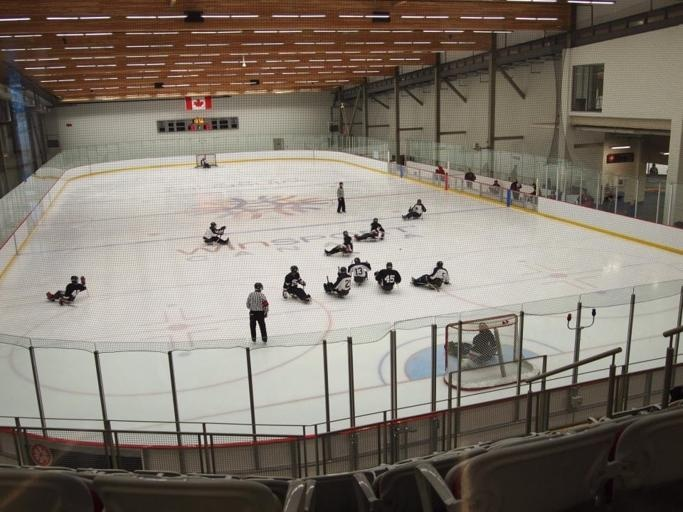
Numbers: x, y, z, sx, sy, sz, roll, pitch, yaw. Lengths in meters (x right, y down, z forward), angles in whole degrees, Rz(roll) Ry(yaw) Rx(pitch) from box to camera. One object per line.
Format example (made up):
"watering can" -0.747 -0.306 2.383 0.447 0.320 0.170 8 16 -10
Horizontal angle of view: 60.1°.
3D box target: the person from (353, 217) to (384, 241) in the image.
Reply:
"person" 0.897 -0.713 17.248 0.988 0.632 0.565 -2 20 11

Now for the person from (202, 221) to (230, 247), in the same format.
"person" -3.865 -0.715 17.900 0.912 0.742 0.644 -4 21 -15

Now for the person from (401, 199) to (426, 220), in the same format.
"person" 2.486 -1.568 19.946 0.793 0.642 0.665 -2 -4 -15

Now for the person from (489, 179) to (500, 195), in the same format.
"person" 5.944 -2.625 22.654 0.307 0.656 0.841 -3 -4 -1

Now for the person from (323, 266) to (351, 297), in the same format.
"person" -0.103 0.560 12.486 0.528 0.641 0.835 -3 -4 -6

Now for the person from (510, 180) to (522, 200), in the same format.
"person" 6.437 -2.345 21.517 0.349 0.684 0.441 0 -5 -32

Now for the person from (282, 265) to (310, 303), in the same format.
"person" -0.865 0.563 12.108 0.392 0.687 0.757 -6 9 -38

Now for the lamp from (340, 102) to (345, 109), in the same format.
"lamp" 0.003 -11.532 45.342 0.461 0.426 0.366 4 27 5

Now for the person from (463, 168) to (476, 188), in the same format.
"person" 5.393 -3.131 24.447 0.409 0.697 0.754 -1 -4 -22

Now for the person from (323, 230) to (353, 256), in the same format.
"person" -0.039 -0.285 15.597 0.906 0.665 0.485 -2 20 10

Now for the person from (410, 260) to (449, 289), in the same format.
"person" 2.024 0.431 12.872 0.552 0.603 0.865 0 -5 -33
